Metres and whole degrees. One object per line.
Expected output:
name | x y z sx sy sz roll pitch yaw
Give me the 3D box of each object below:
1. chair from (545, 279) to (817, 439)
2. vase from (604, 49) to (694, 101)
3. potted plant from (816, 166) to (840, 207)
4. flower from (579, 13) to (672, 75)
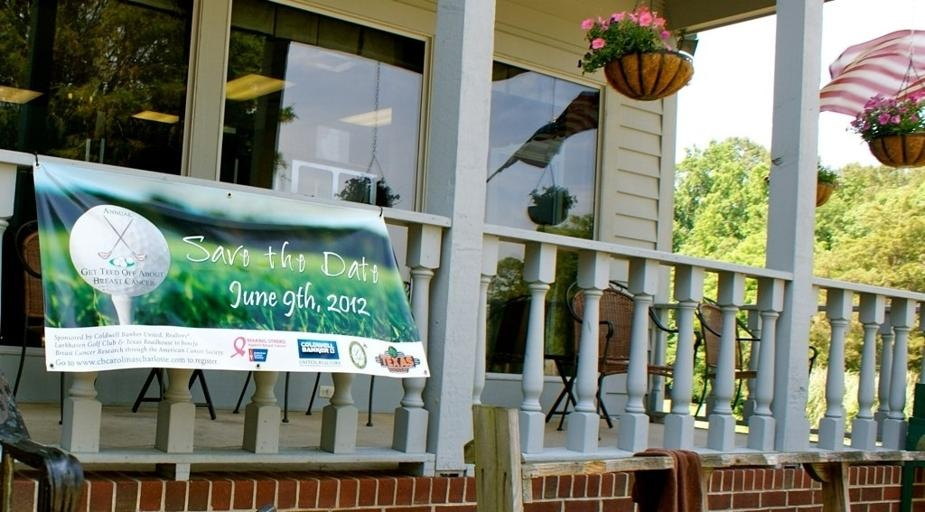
chair | 1.977 1.047 18.458 4.154 2.266 2.058 1 0 -23
vase | 2.056 -2.019 17.174 0.966 0.495 0.394 0 -9 5
potted plant | 4.463 -0.845 18.997 0.504 0.421 0.551 3 2 20
flower | 1.794 -2.473 17.338 0.828 0.536 0.944 -10 11 24
